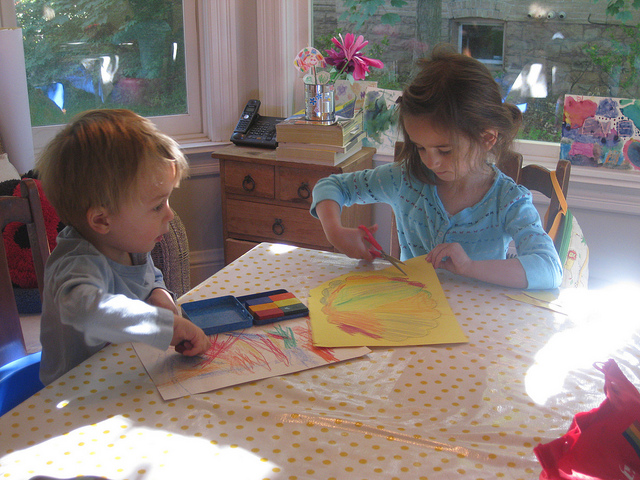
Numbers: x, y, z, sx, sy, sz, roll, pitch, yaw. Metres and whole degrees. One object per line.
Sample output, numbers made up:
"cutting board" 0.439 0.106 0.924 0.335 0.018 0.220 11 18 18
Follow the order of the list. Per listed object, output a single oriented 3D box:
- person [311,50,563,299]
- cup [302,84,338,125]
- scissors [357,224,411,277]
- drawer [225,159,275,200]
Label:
"person" 0.377 -0.213 1.636 0.665 0.961 0.471 19 29 39
"cup" 0.003 -0.562 2.209 0.161 0.154 0.163 -2 14 1
"scissors" 0.148 0.039 1.341 0.163 0.050 0.101 34 49 26
"drawer" -0.356 -0.263 2.422 0.295 0.184 0.161 3 -7 -38
